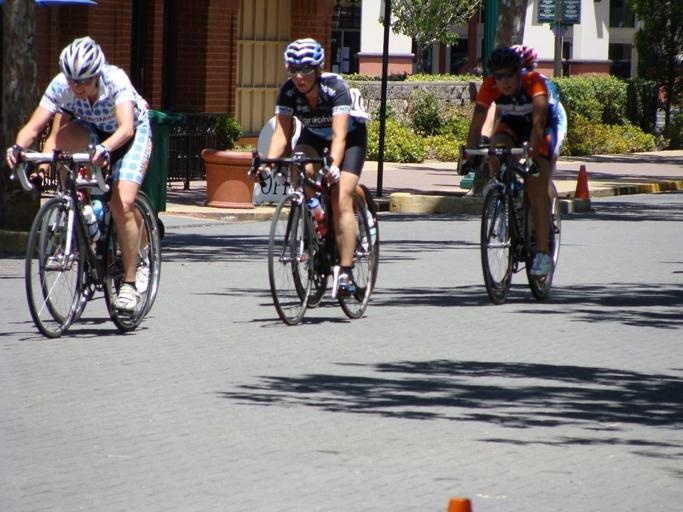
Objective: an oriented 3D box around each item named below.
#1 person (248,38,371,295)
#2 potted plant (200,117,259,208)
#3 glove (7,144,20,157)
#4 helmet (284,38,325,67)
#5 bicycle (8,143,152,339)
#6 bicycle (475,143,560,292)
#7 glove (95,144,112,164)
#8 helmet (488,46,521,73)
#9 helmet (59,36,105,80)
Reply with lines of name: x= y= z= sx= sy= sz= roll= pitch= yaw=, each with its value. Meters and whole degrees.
person: x=-0.184 y=-0.703 z=9.396 sx=0.767 sy=2.100 sz=0.783 roll=1 pitch=7 yaw=2
potted plant: x=-1.834 y=-1.524 z=18.427 sx=0.927 sy=1.498 sz=0.984 roll=1 pitch=0 yaw=-2
glove: x=-2.437 y=-0.783 z=8.492 sx=0.082 sy=0.075 sz=0.226 roll=-2 pitch=9 yaw=-24
helmet: x=-0.290 y=-1.617 z=9.230 sx=0.203 sy=0.273 sz=0.286 roll=-1 pitch=-12 yaw=4
bicycle: x=-1.979 y=-0.088 z=8.810 sx=0.652 sy=1.454 sz=1.295 roll=5 pitch=9 yaw=34
bicycle: x=1.537 y=-0.270 z=10.446 sx=0.470 sy=1.488 sz=1.171 roll=6 pitch=9 yaw=37
glove: x=-1.745 y=-0.731 z=8.386 sx=0.110 sy=0.138 sz=0.102 roll=9 pitch=-21 yaw=-6
helmet: x=1.447 y=-1.722 z=10.094 sx=0.191 sy=0.249 sz=0.254 roll=8 pitch=-23 yaw=22
helmet: x=-1.933 y=-1.460 z=8.509 sx=0.308 sy=0.321 sz=0.321 roll=-1 pitch=8 yaw=-11
